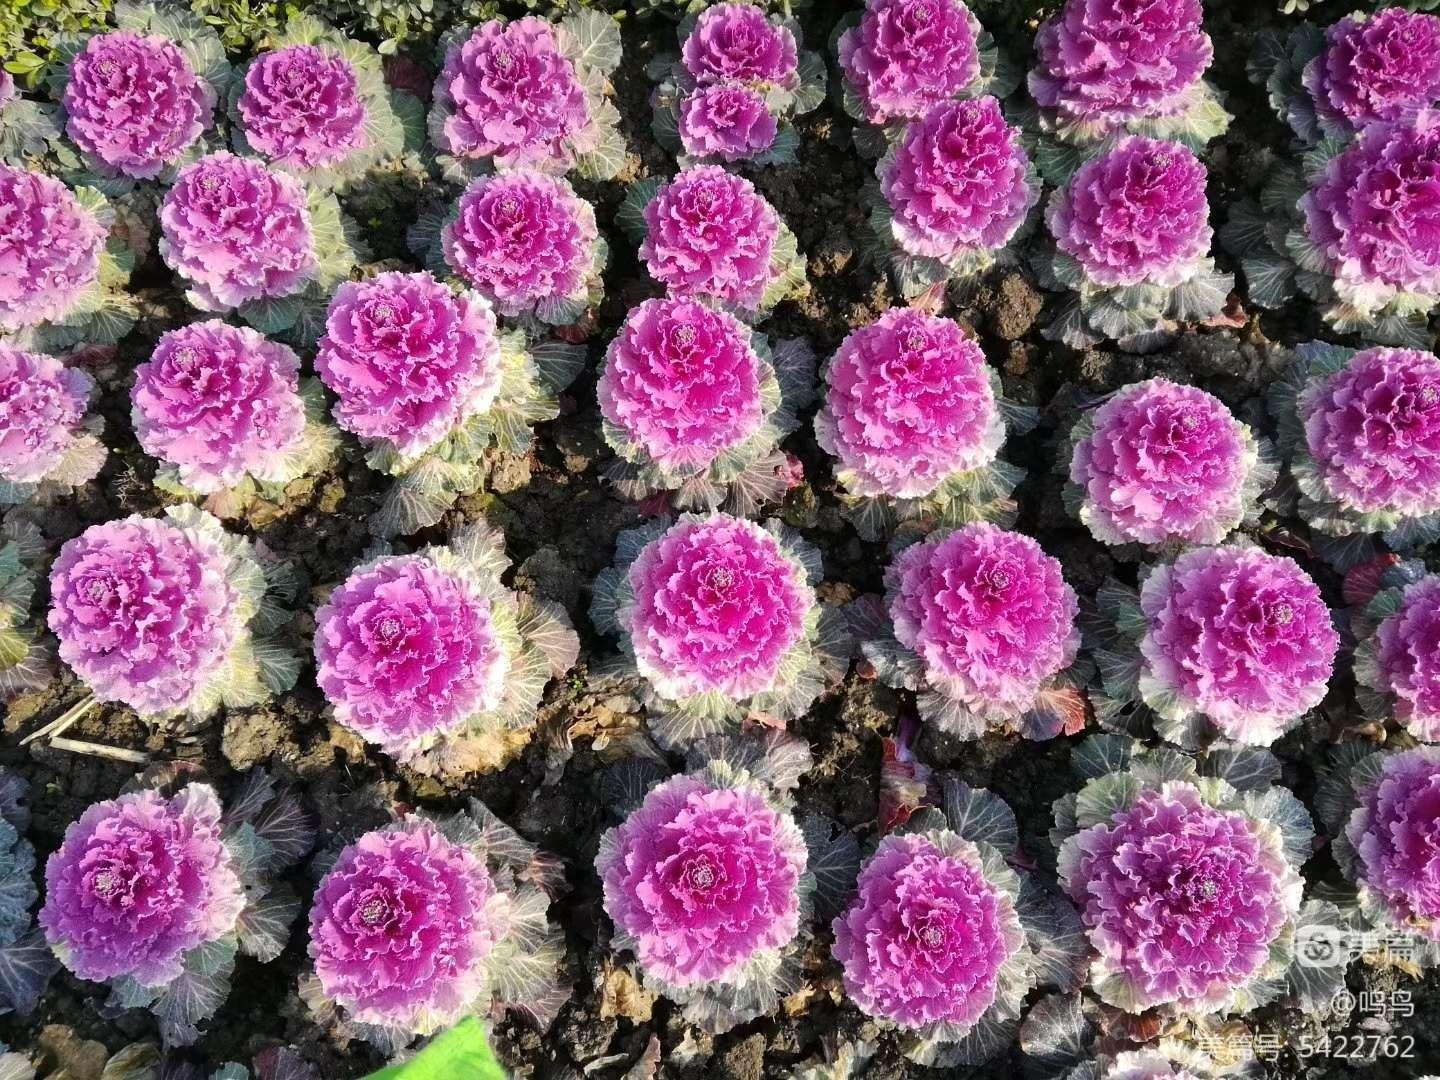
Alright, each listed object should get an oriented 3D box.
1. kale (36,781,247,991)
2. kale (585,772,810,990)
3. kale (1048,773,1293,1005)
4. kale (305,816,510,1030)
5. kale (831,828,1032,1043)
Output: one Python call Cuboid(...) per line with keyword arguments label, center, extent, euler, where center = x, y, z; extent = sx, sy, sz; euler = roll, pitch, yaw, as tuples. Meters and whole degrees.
Cuboid(label="kale", center=(-2.455, 1.400, 6.211), extent=(0.852, 0.817, 0.546), euler=(-35, 71, -2))
Cuboid(label="kale", center=(-0.061, 1.411, 5.907), extent=(0.843, 0.261, 0.829), euler=(-38, 88, -4))
Cuboid(label="kale", center=(2.002, 1.542, 6.081), extent=(1.058, 0.407, 1.012), euler=(4, 86, -2))
Cuboid(label="kale", center=(-1.424, 1.511, 6.062), extent=(0.892, 0.981, 0.575), euler=(-6, 95, 9))
Cuboid(label="kale", center=(0.913, 1.702, 6.059), extent=(0.860, 0.436, 0.877), euler=(1, 86, -2))
